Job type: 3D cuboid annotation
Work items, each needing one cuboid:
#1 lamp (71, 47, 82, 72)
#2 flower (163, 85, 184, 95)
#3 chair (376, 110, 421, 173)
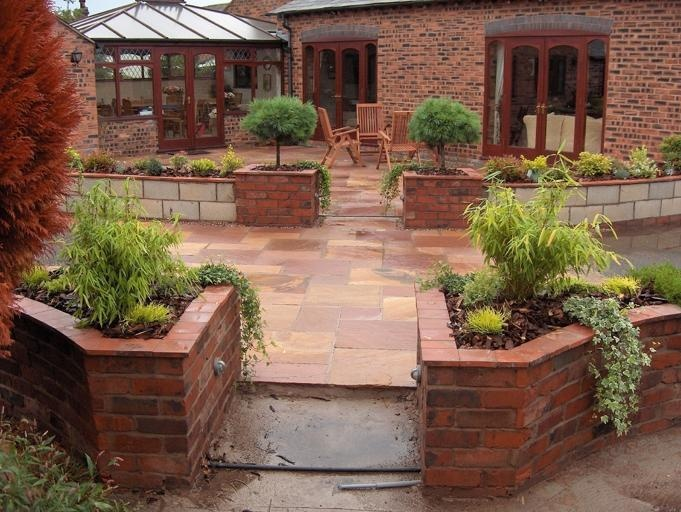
[{"bbox_3d":[-6.323,-4.766,13.223,0.263,0.471,0.504,-3,11,-23],"label":"lamp"},{"bbox_3d":[-4.596,-4.593,15.083,0.320,0.136,0.309,0,7,-1],"label":"flower"},{"bbox_3d":[1.086,-2.538,12.217,0.840,0.852,0.844,-19,9,-18],"label":"chair"}]
